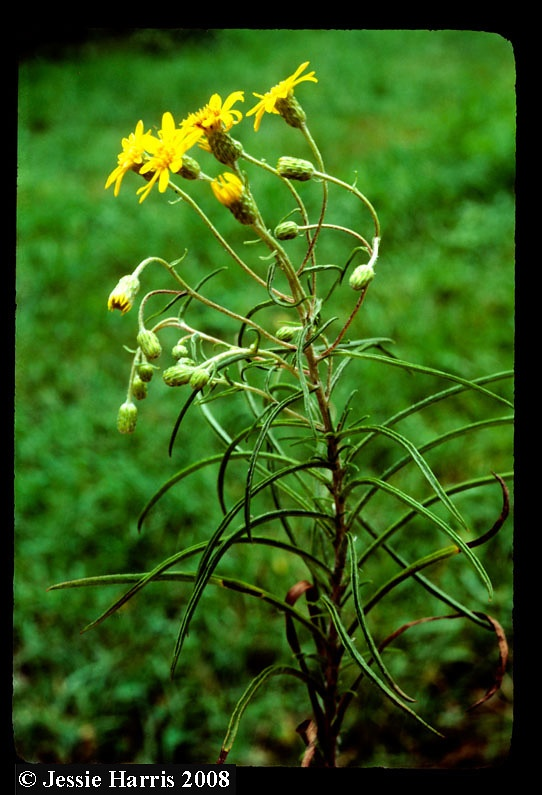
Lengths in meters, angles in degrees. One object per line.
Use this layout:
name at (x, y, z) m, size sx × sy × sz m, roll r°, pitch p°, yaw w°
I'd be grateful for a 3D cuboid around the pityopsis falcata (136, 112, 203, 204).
pityopsis falcata at (-0.186, -0.397, 1.309) m, size 0.114 × 0.119 × 0.071 m, roll -5°, pitch -3°, yaw 40°

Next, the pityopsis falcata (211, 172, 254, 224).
pityopsis falcata at (-0.055, -0.316, 1.305) m, size 0.044 × 0.096 × 0.053 m, roll -47°, pitch 14°, yaw -2°
